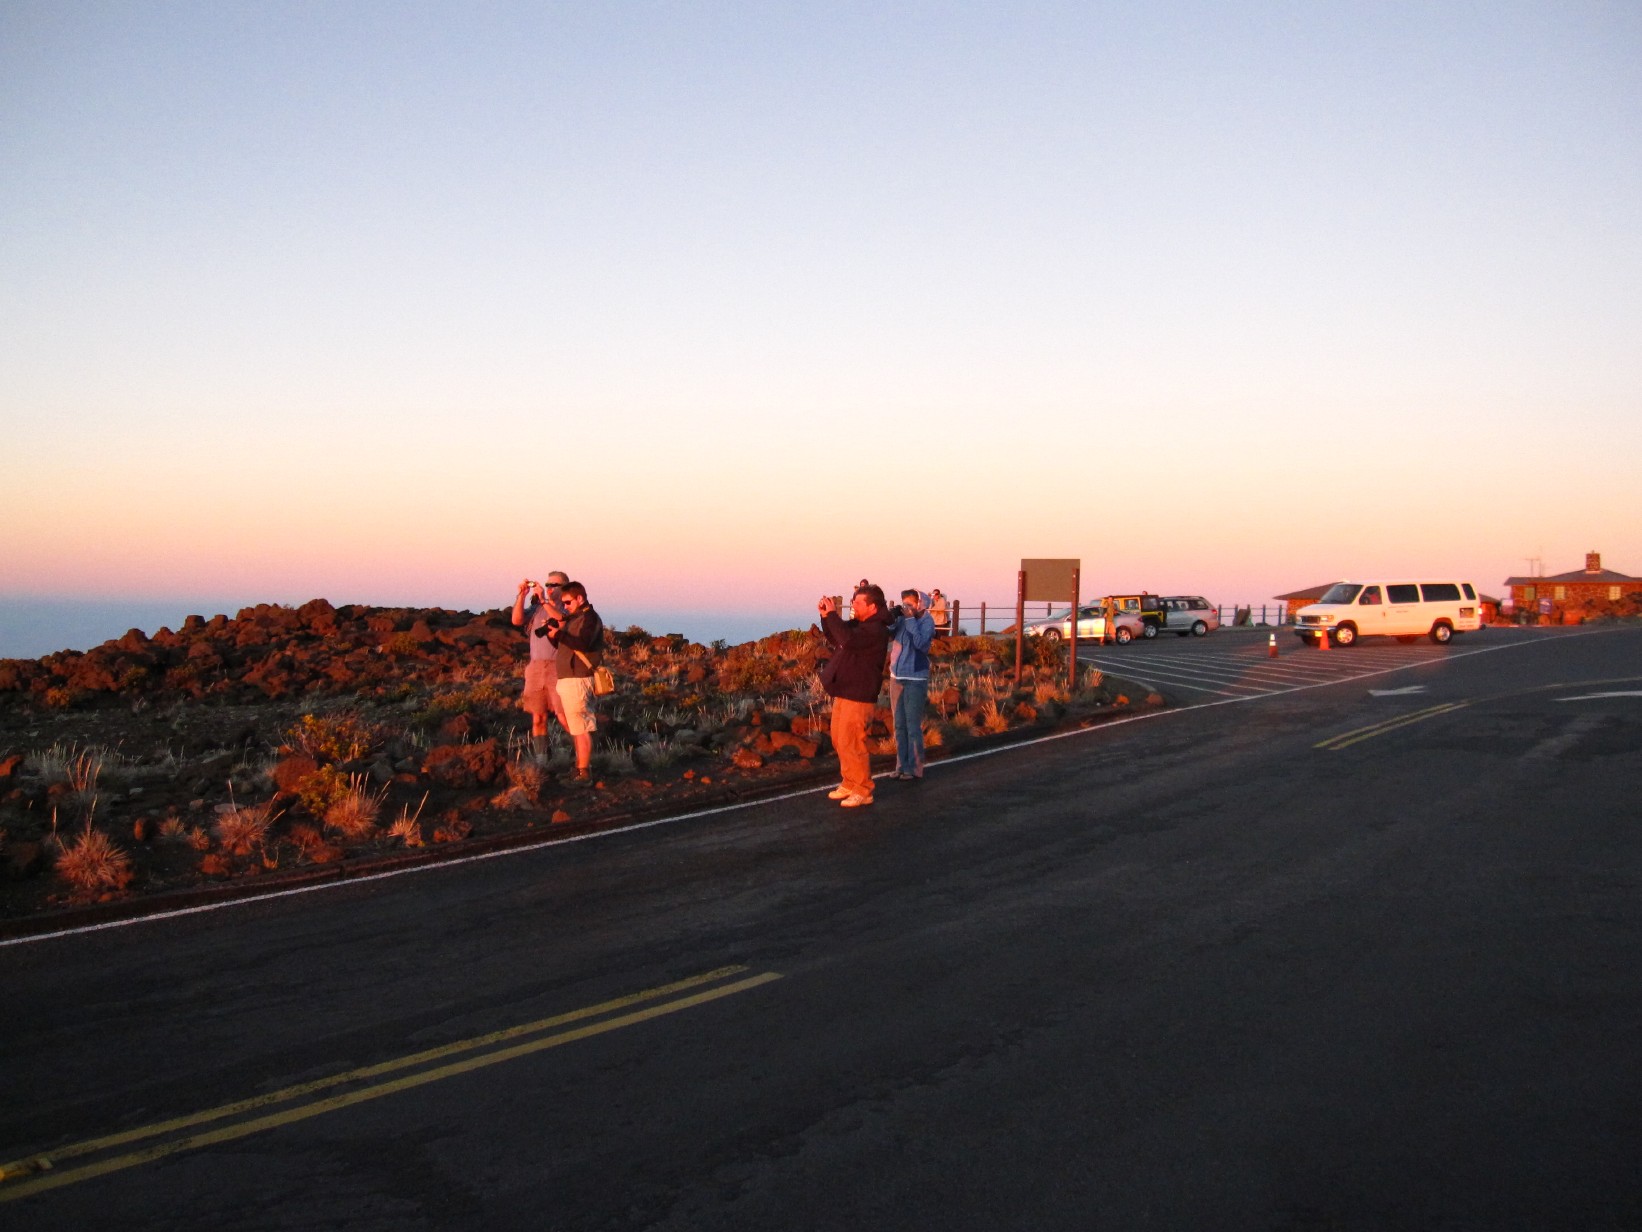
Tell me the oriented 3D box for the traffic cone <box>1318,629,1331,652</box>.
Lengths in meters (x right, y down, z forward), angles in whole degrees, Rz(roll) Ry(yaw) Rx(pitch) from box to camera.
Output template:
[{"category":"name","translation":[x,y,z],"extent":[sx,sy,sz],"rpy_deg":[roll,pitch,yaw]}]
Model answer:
[{"category":"traffic cone","translation":[16.335,0.770,37.081],"extent":[0.404,0.500,0.972],"rpy_deg":[1,7,22]}]

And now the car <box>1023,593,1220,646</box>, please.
[{"category":"car","translation":[12.943,0.193,45.926],"extent":[7.394,1.977,1.769],"rpy_deg":[-6,8,-37]}]

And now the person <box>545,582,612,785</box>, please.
[{"category":"person","translation":[-2.950,0.829,13.778],"extent":[0.633,2.426,0.620],"rpy_deg":[-3,6,-16]}]

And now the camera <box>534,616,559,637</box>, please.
[{"category":"camera","translation":[-3.293,0.150,13.709],"extent":[0.204,0.109,0.282],"rpy_deg":[-9,-1,-25]}]

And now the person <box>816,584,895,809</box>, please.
[{"category":"person","translation":[0.381,0.880,12.863],"extent":[0.746,2.450,1.151],"rpy_deg":[0,6,12]}]
